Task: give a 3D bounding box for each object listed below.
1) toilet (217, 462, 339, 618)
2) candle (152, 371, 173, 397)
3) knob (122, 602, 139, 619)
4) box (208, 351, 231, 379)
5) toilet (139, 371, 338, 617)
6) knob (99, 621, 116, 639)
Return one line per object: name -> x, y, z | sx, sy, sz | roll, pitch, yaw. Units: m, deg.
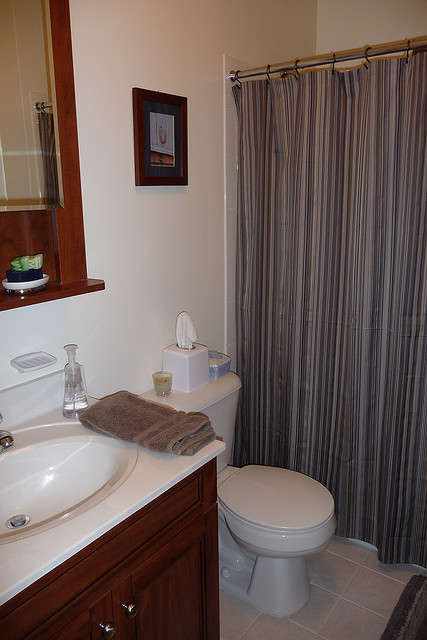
toilet -> 0.176, 0.764, 1.652 | 0.366, 0.384, 0.473 | -6, 11, -43
candle -> -0.158, 0.192, 1.450 | 0.056, 0.061, 0.066 | 1, 5, 3
knob -> -0.149, 0.515, 0.849 | 0.015, 0.026, 0.031 | 2, 9, 25
box -> 0.017, 0.151, 1.640 | 0.078, 0.045, 0.082 | 11, 18, 31
toilet -> 0.109, 0.597, 1.584 | 0.573, 0.796, 0.429 | 0, 8, 14
knob -> -0.179, 0.519, 0.794 | 0.027, 0.012, 0.023 | 7, 18, -11
